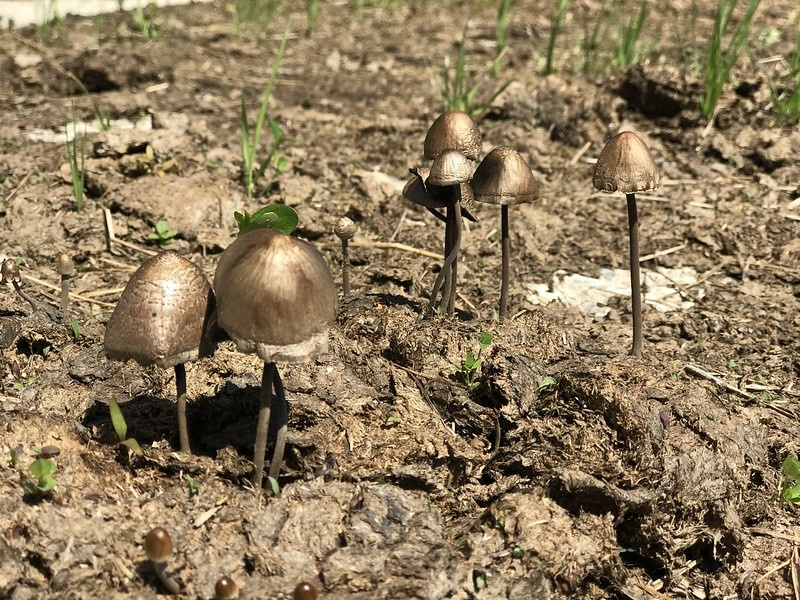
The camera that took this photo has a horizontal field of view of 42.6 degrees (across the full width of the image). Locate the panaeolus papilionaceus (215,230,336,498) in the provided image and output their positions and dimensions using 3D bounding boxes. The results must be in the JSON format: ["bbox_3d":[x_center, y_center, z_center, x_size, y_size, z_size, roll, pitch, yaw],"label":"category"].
[{"bbox_3d":[-0.826,0.393,6.706,0.778,1.722,0.625,4,34,-1],"label":"panaeolus papilionaceus"}]

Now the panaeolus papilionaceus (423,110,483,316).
[{"bbox_3d":[0.355,-0.607,8.074,0.427,1.816,0.618,6,34,2],"label":"panaeolus papilionaceus"}]

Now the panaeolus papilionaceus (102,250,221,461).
[{"bbox_3d":[-1.526,0.081,6.536,0.713,0.647,0.453,-6,35,-16],"label":"panaeolus papilionaceus"}]

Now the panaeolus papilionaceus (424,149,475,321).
[{"bbox_3d":[0.360,-0.509,7.767,0.342,1.276,0.380,0,9,-2],"label":"panaeolus papilionaceus"}]
